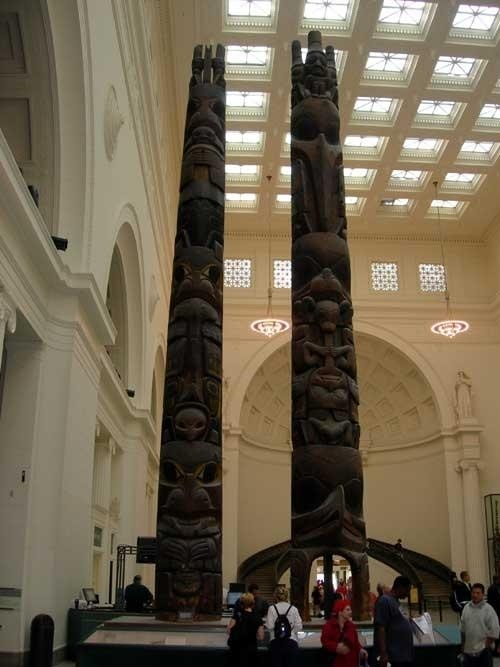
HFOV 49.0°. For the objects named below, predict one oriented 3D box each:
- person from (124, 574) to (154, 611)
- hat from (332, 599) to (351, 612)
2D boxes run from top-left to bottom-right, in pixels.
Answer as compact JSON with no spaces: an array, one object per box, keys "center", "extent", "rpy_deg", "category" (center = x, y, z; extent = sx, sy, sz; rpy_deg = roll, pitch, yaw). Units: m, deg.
[{"center":[-1.663,3.819,8.120],"extent":[0.373,0.512,1.786],"rpy_deg":[4,-27,-10],"category":"person"},{"center":[0.534,1.634,3.279],"extent":[0.113,0.048,0.086],"rpy_deg":[-21,-16,37],"category":"hat"}]
